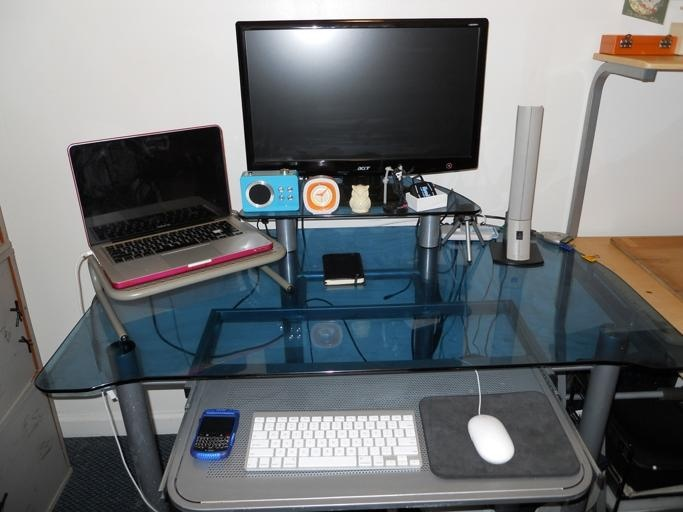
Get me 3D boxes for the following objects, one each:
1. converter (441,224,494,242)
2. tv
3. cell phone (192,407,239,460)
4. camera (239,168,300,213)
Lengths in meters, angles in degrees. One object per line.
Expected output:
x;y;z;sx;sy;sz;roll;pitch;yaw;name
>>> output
0.445;-0.078;1.772;0.124;0.023;0.076;1;25;7;converter
0.053;-0.462;1.588;0.550;0.419;0.155;-1;26;-2;tv
-0.309;0.437;1.263;0.093;0.046;0.122;2;26;3;cell phone
-0.220;-0.199;1.583;0.123;0.099;0.052;-1;24;-3;camera
